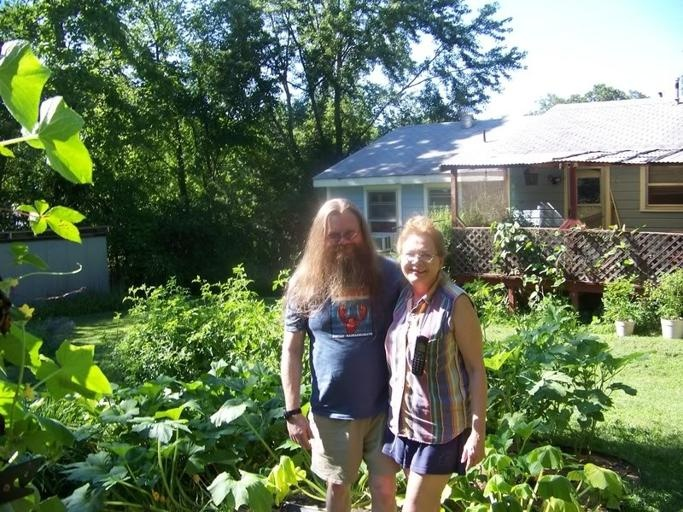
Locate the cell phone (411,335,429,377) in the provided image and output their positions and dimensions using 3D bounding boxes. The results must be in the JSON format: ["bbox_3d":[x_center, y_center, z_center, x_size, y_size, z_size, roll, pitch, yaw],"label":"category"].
[{"bbox_3d":[0.364,0.457,2.462,0.070,0.178,0.030,4,5,9],"label":"cell phone"}]

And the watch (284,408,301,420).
[{"bbox_3d":[-0.258,0.847,2.871,0.078,0.060,0.091,3,-34,-24],"label":"watch"}]
